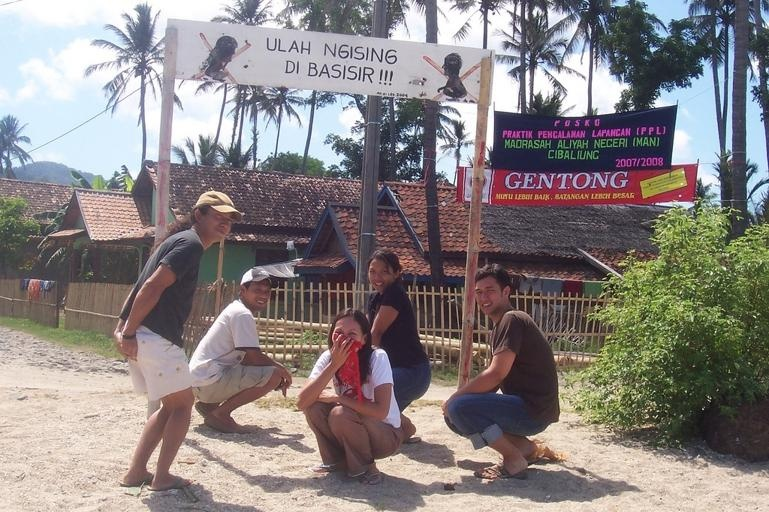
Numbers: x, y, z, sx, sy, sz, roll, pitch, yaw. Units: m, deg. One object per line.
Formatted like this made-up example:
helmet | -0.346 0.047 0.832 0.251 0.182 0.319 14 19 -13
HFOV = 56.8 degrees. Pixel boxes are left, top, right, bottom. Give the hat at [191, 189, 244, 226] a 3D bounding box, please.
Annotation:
hat | -1.802 -0.527 7.761 0.484 0.290 0.342 6 -1 0

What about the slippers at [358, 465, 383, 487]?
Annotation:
slippers | -0.140 2.385 7.768 0.119 0.156 0.341 -2 -8 -18

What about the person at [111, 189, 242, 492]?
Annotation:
person | -2.285 0.847 7.542 0.838 3.025 0.925 3 8 13

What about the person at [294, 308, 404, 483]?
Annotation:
person | -0.338 1.504 7.820 1.094 1.845 0.386 2 8 2

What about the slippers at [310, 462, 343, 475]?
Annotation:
slippers | -0.639 2.378 7.983 0.248 0.107 0.140 5 -7 0

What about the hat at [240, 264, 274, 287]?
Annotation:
hat | -1.581 0.243 8.806 0.334 0.191 0.359 1 7 -9

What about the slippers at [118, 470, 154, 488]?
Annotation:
slippers | -2.546 2.313 7.364 0.381 0.148 0.142 0 1 -20

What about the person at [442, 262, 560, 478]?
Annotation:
person | 1.370 1.275 8.014 1.269 2.337 0.613 3 8 6

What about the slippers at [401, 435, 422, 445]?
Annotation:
slippers | 0.343 2.275 8.875 0.257 0.085 0.101 3 -1 -28
